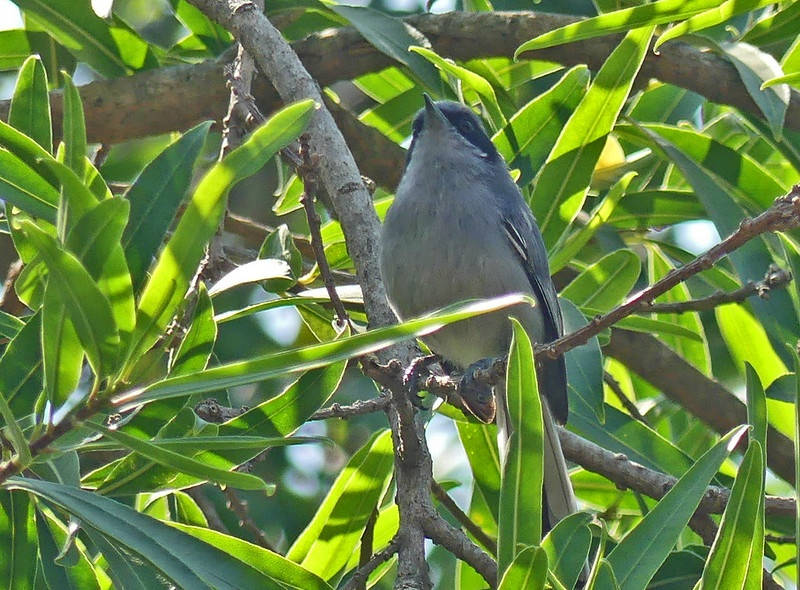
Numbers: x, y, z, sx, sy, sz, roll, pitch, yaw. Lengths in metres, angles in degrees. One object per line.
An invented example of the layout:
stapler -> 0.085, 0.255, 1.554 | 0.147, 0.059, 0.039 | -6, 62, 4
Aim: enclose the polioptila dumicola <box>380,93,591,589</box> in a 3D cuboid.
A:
polioptila dumicola -> 0.204, 0.262, 3.894 | 0.462, 1.628, 0.709 | -14, 26, 14
